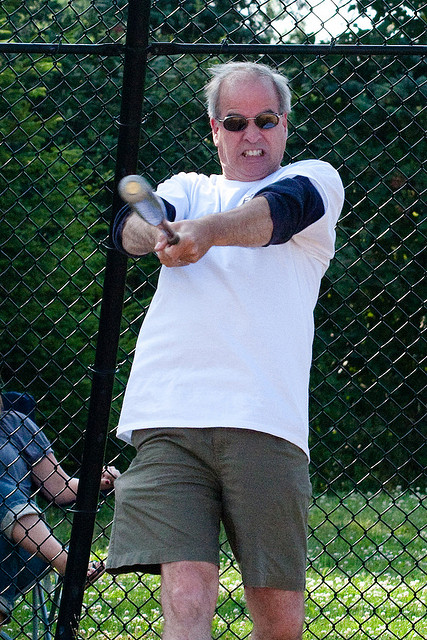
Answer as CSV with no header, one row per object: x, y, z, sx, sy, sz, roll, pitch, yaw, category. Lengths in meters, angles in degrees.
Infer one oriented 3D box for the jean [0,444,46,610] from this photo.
-0.801,0.840,3.343,0.179,0.504,0.700,-1,17,-12,jean

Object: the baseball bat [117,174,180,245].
-0.128,-0.241,1.770,0.058,0.069,0.288,-21,-23,11,baseball bat
